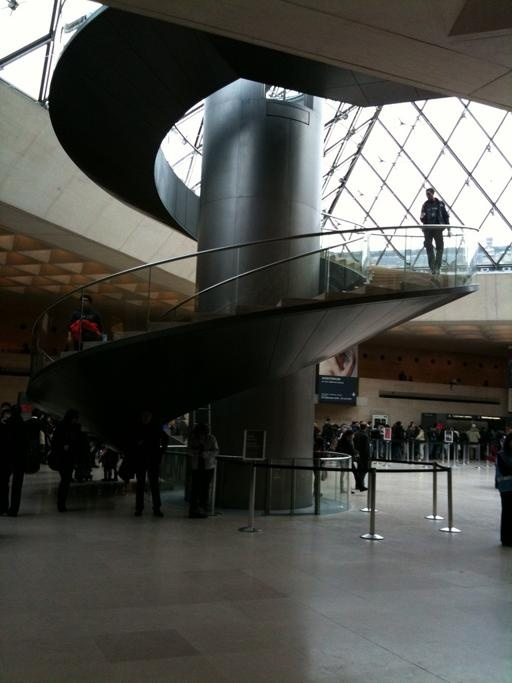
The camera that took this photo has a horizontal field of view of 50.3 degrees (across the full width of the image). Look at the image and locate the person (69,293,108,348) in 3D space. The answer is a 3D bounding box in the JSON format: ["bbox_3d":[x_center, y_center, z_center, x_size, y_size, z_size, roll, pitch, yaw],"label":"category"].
[{"bbox_3d":[-2.844,-0.400,9.164,0.390,1.062,1.079,9,-13,-31],"label":"person"}]
